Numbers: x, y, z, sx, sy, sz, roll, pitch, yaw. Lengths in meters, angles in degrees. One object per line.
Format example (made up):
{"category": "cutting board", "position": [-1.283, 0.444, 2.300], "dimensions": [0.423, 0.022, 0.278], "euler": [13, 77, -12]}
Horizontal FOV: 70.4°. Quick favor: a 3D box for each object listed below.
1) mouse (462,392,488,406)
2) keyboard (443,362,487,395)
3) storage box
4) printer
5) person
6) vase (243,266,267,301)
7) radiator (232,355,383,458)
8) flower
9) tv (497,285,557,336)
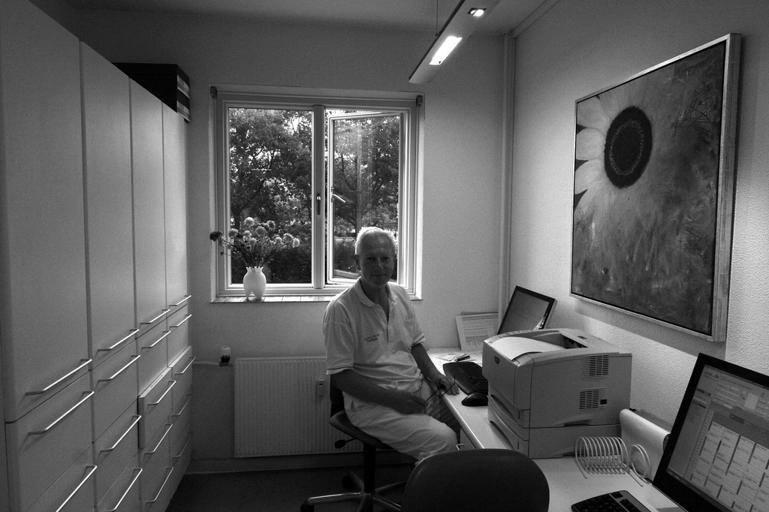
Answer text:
{"category": "mouse", "position": [0.528, 0.826, 3.157], "dimensions": [0.098, 0.032, 0.072], "euler": [2, 2, 13]}
{"category": "keyboard", "position": [0.526, 0.749, 3.534], "dimensions": [0.216, 0.055, 0.637], "euler": [-20, -31, 8]}
{"category": "storage box", "position": [-1.530, -1.079, 3.658], "dimensions": [0.421, 0.422, 0.269], "euler": [-1, 3, -2]}
{"category": "printer", "position": [0.875, 0.642, 2.873], "dimensions": [0.609, 0.509, 0.613], "euler": [-1, 1, -7]}
{"category": "person", "position": [0.138, 0.642, 3.422], "dimensions": [0.914, 1.590, 0.802], "euler": [1, 8, 33]}
{"category": "vase", "position": [-0.965, 0.198, 4.104], "dimensions": [0.183, 0.249, 0.179], "euler": [-4, 8, -27]}
{"category": "radiator", "position": [-0.574, 1.018, 3.771], "dimensions": [0.875, 0.673, 0.094], "euler": [0, 0, -5]}
{"category": "flower", "position": [-0.957, -0.107, 4.123], "dimensions": [0.436, 0.303, 0.432], "euler": [0, 4, -24]}
{"category": "tv", "position": [0.981, 0.370, 3.696], "dimensions": [0.038, 0.374, 0.379], "euler": [23, -6, -22]}
